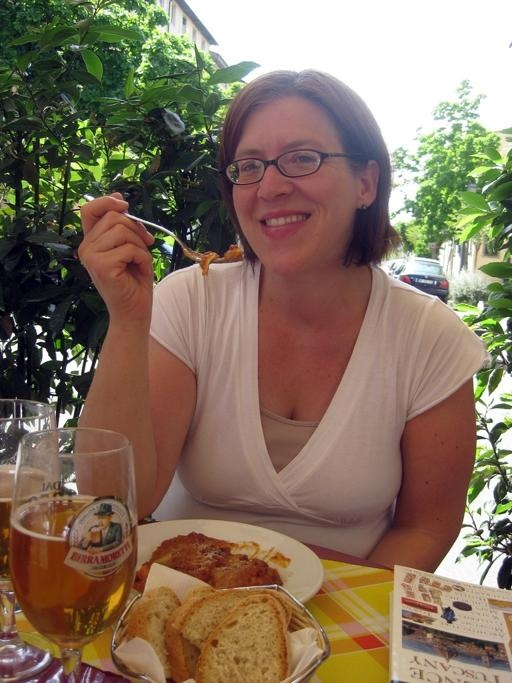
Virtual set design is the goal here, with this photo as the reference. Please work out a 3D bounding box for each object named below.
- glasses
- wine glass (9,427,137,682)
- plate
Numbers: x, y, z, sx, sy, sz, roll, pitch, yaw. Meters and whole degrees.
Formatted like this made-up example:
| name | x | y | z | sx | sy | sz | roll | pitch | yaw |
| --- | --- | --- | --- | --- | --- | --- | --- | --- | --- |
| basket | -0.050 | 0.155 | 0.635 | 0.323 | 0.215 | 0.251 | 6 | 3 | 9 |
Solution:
| name | x | y | z | sx | sy | sz | roll | pitch | yaw |
| --- | --- | --- | --- | --- | --- | --- | --- | --- | --- |
| glasses | 0.109 | -0.436 | 1.444 | 0.328 | 0.069 | 0.138 | 3 | 1 | 9 |
| wine glass | -0.179 | 0.193 | 0.545 | 0.110 | 0.202 | 0.083 | 4 | 2 | 21 |
| plate | -0.057 | 0.344 | 0.903 | 0.272 | 0.037 | 0.267 | 1 | -11 | -20 |
